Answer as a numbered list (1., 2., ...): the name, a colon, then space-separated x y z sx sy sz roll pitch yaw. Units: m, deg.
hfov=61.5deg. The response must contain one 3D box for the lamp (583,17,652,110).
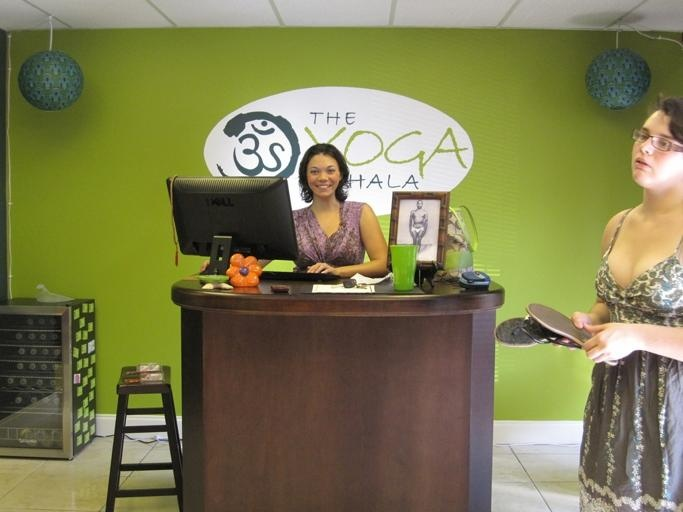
1. lamp: 1.792 -1.204 3.711 0.390 0.538 0.396 2 8 23

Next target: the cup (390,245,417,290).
1. cup: 0.268 0.045 2.445 0.110 0.190 0.146 0 2 6

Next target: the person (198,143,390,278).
1. person: -0.269 -0.240 3.537 1.233 1.074 0.727 -1 -2 14

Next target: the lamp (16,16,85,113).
1. lamp: -1.872 -1.204 3.736 0.407 0.857 0.407 -2 11 -20

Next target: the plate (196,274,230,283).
1. plate: -0.588 0.099 2.601 0.193 0.035 0.120 1 3 31

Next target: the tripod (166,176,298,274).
1. tripod: -0.515 -0.184 2.751 0.604 0.392 0.178 0 2 17

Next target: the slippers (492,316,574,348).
1. slippers: 0.688 0.292 2.129 0.310 0.114 0.080 2 -37 9
